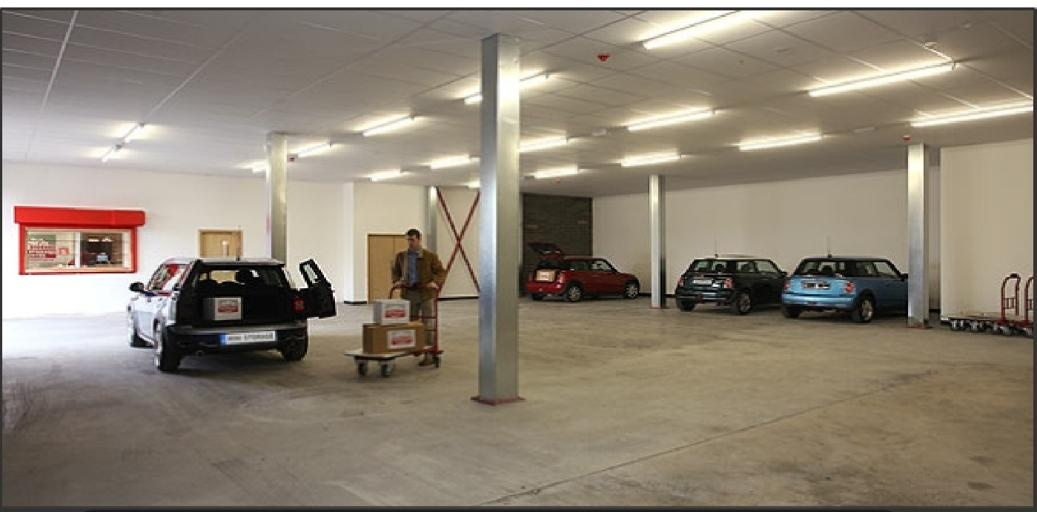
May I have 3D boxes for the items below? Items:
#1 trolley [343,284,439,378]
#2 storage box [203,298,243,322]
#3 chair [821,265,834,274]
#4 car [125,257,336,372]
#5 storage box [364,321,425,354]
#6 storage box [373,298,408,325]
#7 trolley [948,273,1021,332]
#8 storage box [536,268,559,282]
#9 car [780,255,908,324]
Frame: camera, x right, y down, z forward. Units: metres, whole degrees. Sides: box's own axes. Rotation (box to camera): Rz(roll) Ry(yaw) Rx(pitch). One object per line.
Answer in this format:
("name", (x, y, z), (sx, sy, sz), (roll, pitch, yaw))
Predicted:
("trolley", (-2.778, 1.755, 13.322), (1.844, 1.733, 2.342), (-2, -3, 34))
("storage box", (-6.290, 1.120, 12.552), (1.008, 0.566, 0.514), (2, -3, -34))
("chair", (9.574, 0.444, 18.221), (0.330, 0.232, 0.298), (-2, -2, 22))
("car", (-6.805, 1.236, 13.010), (4.506, 2.439, 1.800), (-2, -2, 17))
("storage box", (-2.643, 1.733, 12.374), (1.398, 0.550, 0.704), (1, -5, -29))
("storage box", (-2.736, 1.179, 12.582), (1.051, 0.439, 0.715), (2, 2, -31))
("trolley", (13.570, 1.392, 16.960), (2.309, 1.400, 1.164), (-1, 1, -29))
("storage box", (1.170, 0.782, 24.123), (0.726, 0.250, 0.814), (0, 2, 12))
("car", (10.737, 0.988, 18.882), (3.741, 1.282, 2.194), (-4, 3, -37))
